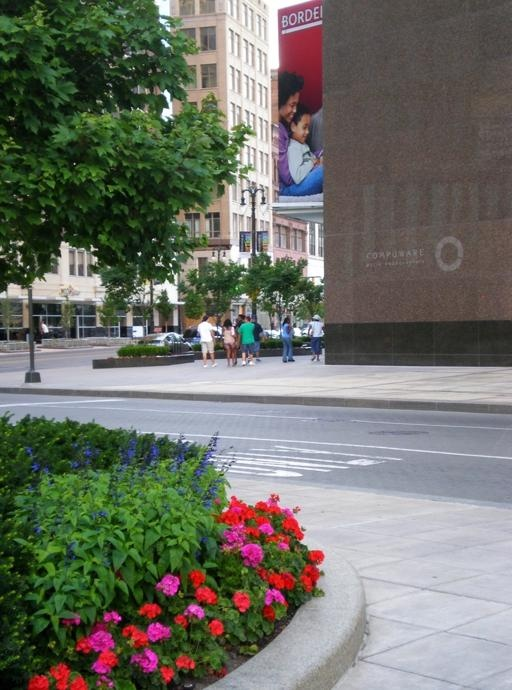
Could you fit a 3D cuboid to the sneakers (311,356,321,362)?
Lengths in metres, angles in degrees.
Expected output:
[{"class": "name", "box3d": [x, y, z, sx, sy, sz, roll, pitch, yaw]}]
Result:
[{"class": "sneakers", "box3d": [2.519, 0.589, 35.302, 0.249, 0.224, 0.412, -3, -4, 8]}]
